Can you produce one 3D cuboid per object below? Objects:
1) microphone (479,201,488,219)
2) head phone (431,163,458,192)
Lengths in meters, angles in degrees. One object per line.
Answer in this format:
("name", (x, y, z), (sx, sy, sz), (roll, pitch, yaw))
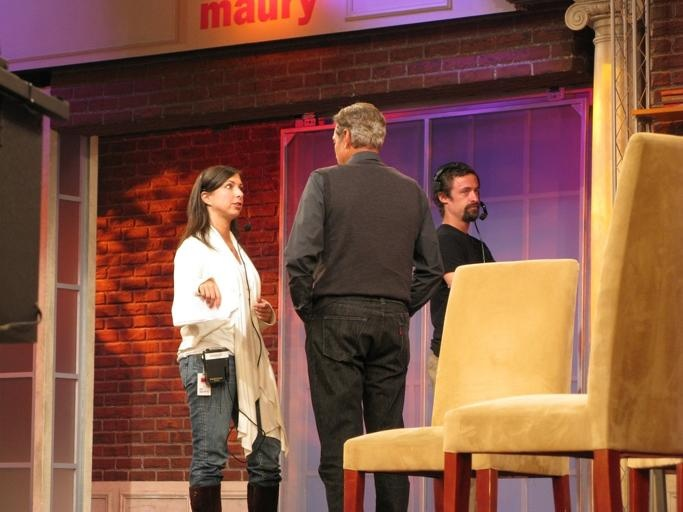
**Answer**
("microphone", (0.906, -0.296, 8.558), (0.047, 0.131, 0.097), (-10, -54, -2))
("head phone", (0.629, -0.481, 8.243), (0.161, 0.189, 0.138), (4, 3, 20))
